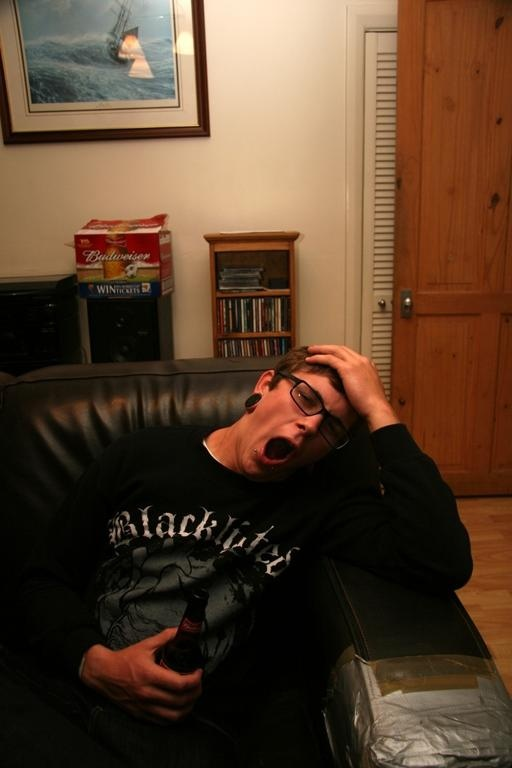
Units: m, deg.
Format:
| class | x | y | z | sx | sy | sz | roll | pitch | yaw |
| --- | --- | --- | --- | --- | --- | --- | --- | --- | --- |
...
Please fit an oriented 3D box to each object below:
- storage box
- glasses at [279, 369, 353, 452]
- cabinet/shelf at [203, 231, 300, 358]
| class | x | y | z | sx | sy | sz | roll | pitch | yaw |
| --- | --- | --- | --- | --- | --- | --- | --- | --- | --- |
| storage box | -0.567 | -0.518 | 2.513 | 0.349 | 0.345 | 0.280 | -2 | 0 | 2 |
| glasses | 0.104 | 0.039 | 1.059 | 0.037 | 0.121 | 0.122 | -37 | 34 | 1 |
| cabinet/shelf | -0.008 | -0.387 | 2.596 | 0.374 | 0.689 | 0.216 | -4 | 40 | -4 |
